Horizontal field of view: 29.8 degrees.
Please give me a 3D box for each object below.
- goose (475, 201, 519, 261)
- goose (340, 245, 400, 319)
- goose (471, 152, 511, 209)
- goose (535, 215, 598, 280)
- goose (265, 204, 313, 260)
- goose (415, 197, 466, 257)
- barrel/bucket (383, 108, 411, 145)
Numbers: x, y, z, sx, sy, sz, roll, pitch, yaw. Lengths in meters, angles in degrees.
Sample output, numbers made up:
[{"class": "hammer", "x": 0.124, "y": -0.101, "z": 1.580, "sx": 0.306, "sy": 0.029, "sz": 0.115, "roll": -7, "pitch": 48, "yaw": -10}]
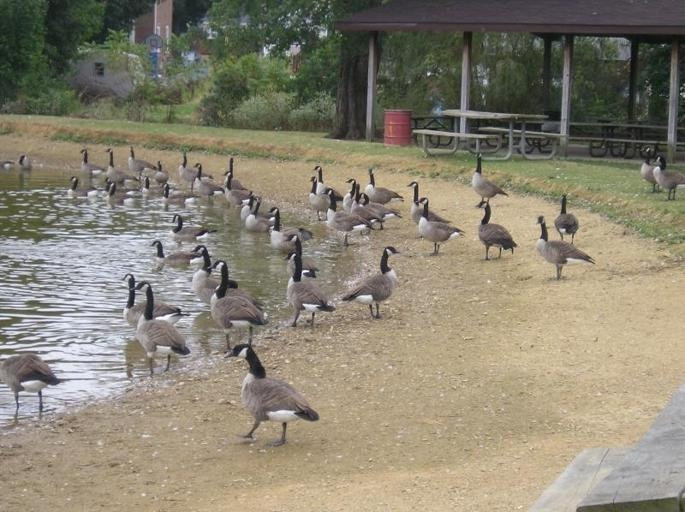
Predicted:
[{"class": "goose", "x": 4.452, "y": -0.720, "z": 37.673, "sx": 1.462, "sy": 1.525, "sz": 1.247, "roll": 5, "pitch": 11, "yaw": 19}, {"class": "goose", "x": 1.001, "y": 0.740, "z": 34.497, "sx": 1.712, "sy": 1.824, "sz": 1.642, "roll": 3, "pitch": 11, "yaw": 11}, {"class": "goose", "x": 4.843, "y": -2.482, "z": 43.165, "sx": 1.765, "sy": 1.826, "sz": 1.383, "roll": 1, "pitch": 13, "yaw": 9}, {"class": "goose", "x": 5.947, "y": -0.203, "z": 35.865, "sx": 1.989, "sy": 1.643, "sz": 1.640, "roll": 6, "pitch": 11, "yaw": -3}, {"class": "goose", "x": -1.640, "y": -0.684, "z": 39.332, "sx": 1.432, "sy": 1.367, "sz": 1.175, "roll": 1, "pitch": 10, "yaw": 1}, {"class": "goose", "x": 3.021, "y": -0.854, "z": 38.656, "sx": 1.682, "sy": 1.605, "sz": 1.389, "roll": 3, "pitch": 12, "yaw": 6}, {"class": "barrel/bucket", "x": 2.322, "y": -5.430, "z": 54.750, "sx": 1.148, "sy": 1.515, "sz": 1.060, "roll": -1, "pitch": 7, "yaw": 0}]
